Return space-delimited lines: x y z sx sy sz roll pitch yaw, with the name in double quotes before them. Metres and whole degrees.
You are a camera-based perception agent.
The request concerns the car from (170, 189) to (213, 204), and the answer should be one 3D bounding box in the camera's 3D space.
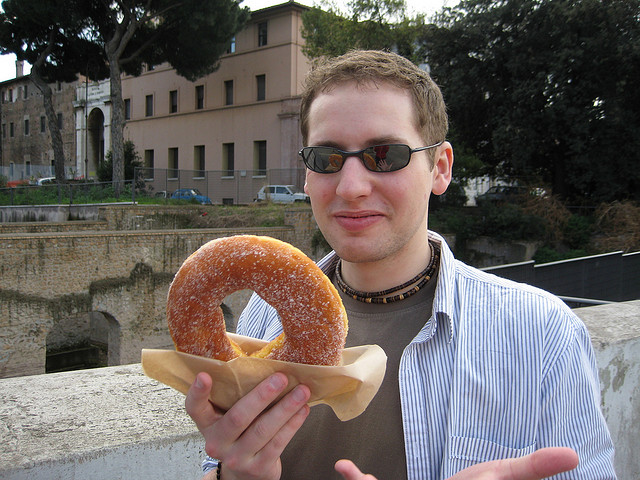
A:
"car" -7.168 -2.263 39.474 1.785 0.993 1.101 0 6 12
